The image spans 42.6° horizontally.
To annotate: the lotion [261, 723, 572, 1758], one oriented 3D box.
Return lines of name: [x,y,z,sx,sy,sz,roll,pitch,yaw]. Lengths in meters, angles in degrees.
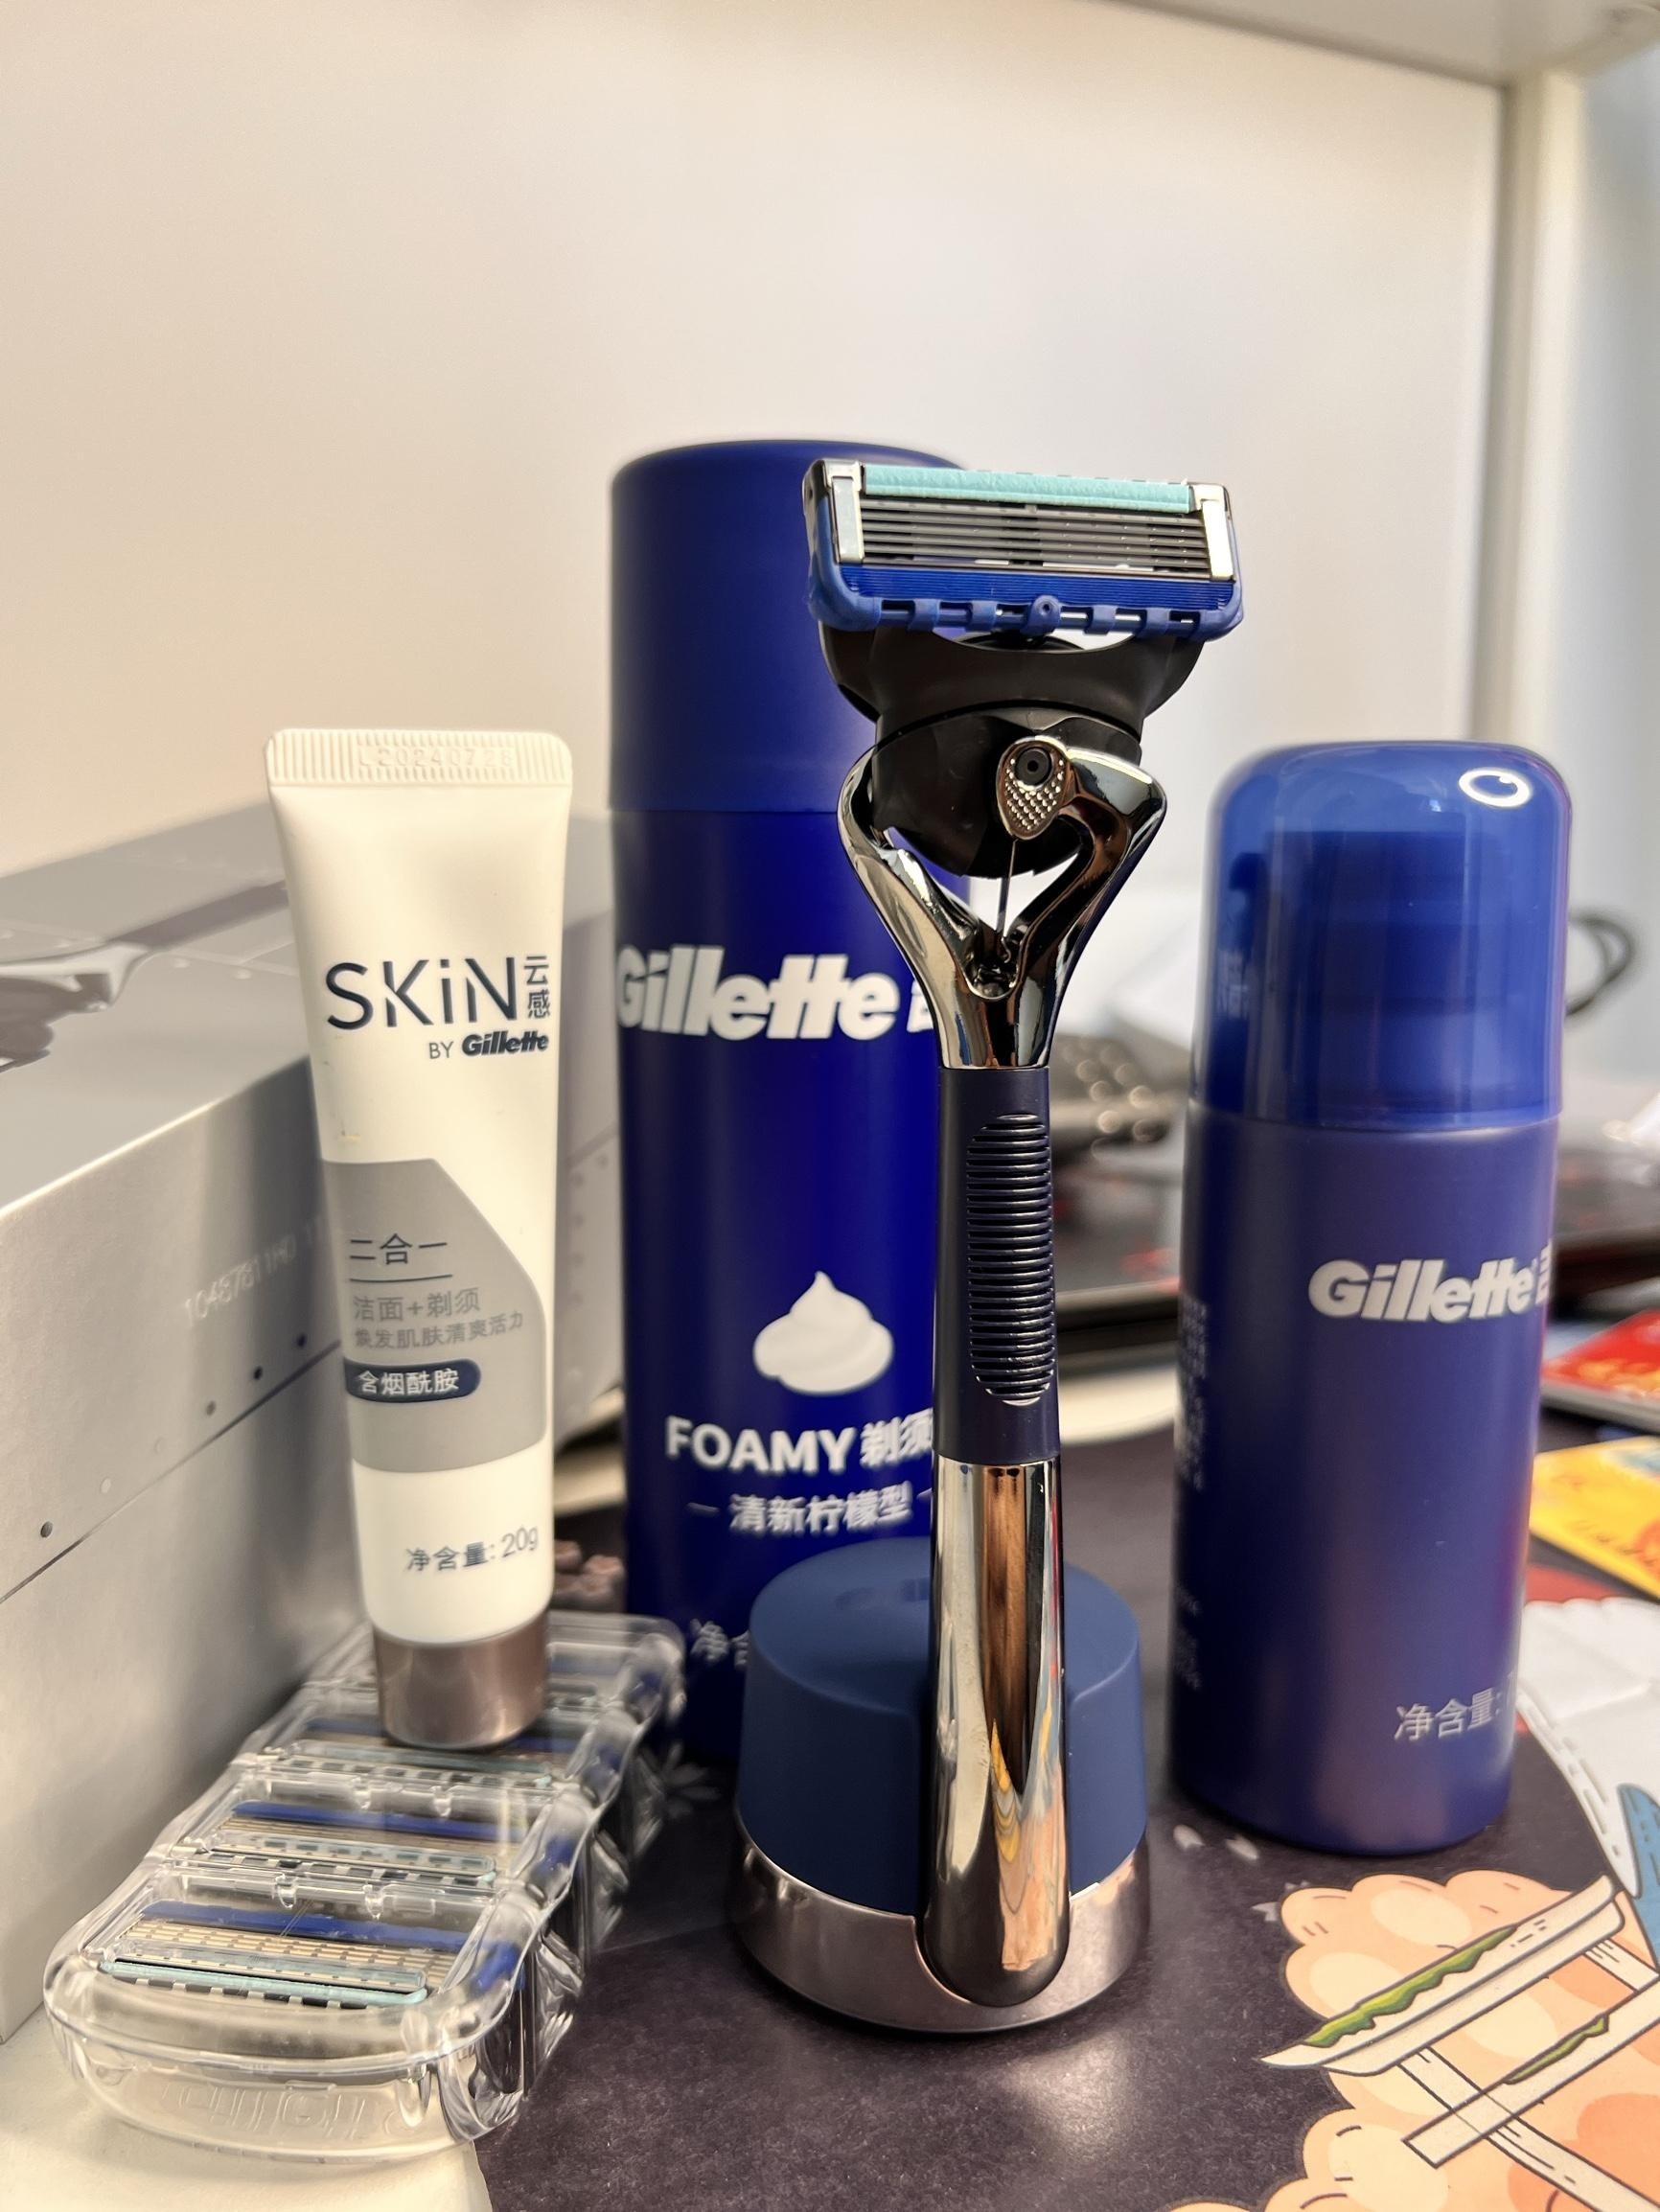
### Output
lotion: [-0.063,0.021,0.335,0.045,0.156,0.044,-1,16,-7]

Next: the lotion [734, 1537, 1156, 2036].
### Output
lotion: [0.014,0.095,0.328,0.067,0.046,0.067,-2,10,-7]

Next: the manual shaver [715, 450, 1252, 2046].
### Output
manual shaver: [0.018,0.021,0.298,0.063,0.214,0.075,4,16,9]
